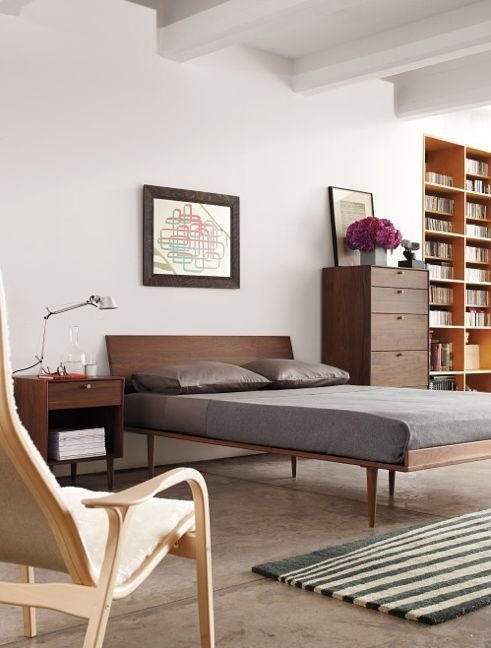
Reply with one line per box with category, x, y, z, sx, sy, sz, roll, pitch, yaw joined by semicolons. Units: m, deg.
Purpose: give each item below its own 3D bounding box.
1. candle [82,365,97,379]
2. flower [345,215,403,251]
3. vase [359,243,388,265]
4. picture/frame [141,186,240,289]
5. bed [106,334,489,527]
candle;-0.991;0.297;3.701;0.079;0.078;0.088;2;-6;-23
flower;1.250;-0.871;5.747;0.410;0.318;0.423;-4;2;-24
vase;1.250;-0.684;5.639;0.210;0.187;0.204;-4;10;-23
picture/frame;-0.482;-0.704;4.714;1.009;0.753;0.046;3;-5;-40
bed;0.005;0.489;3.919;1.432;0.711;1.628;2;-3;-45
